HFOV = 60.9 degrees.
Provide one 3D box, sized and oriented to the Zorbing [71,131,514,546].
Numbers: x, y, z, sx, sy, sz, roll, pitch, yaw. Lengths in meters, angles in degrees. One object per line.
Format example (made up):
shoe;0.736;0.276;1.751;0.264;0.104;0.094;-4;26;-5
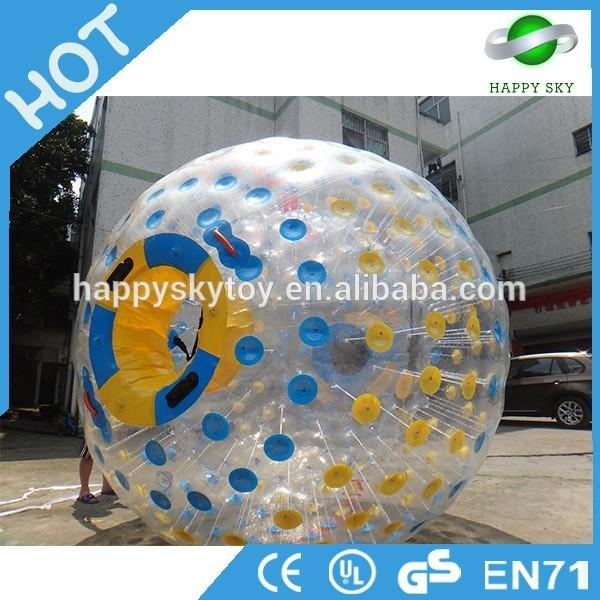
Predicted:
Zorbing;-0.138;0.185;3.070;1.990;2.078;2.086;7;-12;-36

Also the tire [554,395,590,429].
tire;4.046;1.647;7.495;0.171;0.508;0.509;6;-8;-35
